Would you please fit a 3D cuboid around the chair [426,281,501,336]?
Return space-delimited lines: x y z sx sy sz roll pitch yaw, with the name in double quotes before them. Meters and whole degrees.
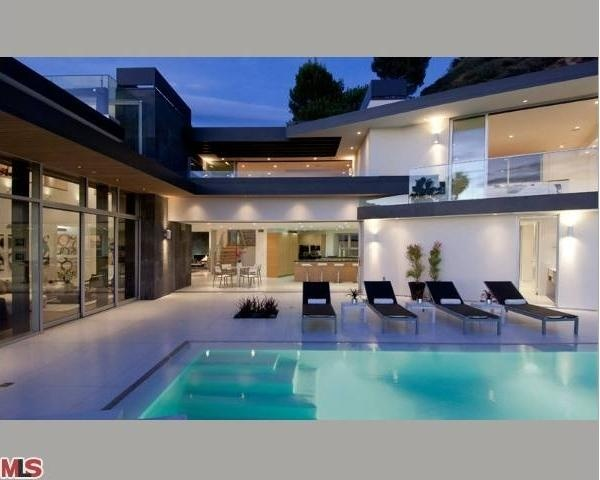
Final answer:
"chair" 3.597 1.402 10.699 0.684 0.732 1.823 0 -6 -2

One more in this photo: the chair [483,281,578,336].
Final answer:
"chair" 5.151 1.469 10.695 0.742 0.886 2.276 -3 1 -8

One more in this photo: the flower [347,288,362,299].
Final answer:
"flower" 1.596 1.557 13.794 0.359 0.396 0.343 6 -11 -16

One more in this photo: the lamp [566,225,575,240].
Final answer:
"lamp" 6.940 -0.227 12.231 0.221 0.438 0.233 3 -3 16
